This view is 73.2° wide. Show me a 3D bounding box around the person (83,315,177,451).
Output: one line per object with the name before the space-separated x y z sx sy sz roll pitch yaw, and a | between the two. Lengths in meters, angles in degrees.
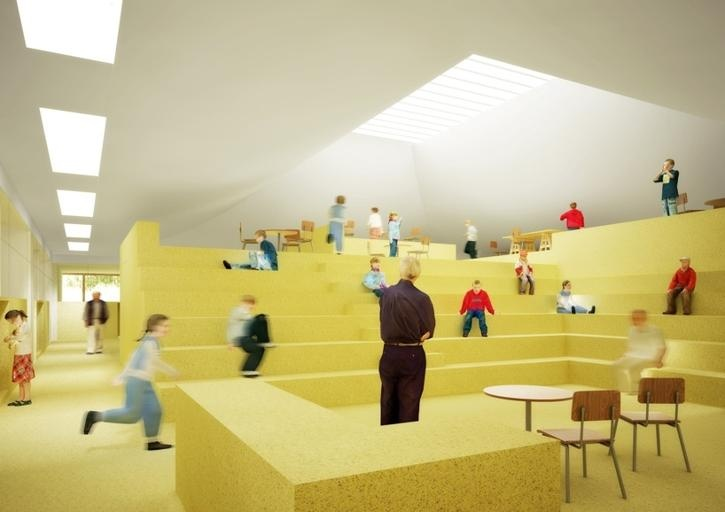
person | -2.575 1.462 5.523 0.924 1.586 0.445 0 1 -9

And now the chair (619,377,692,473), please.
chair | 3.330 1.876 5.647 0.631 1.034 0.649 2 -3 6

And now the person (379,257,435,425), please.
person | 0.465 0.890 5.117 0.560 1.752 0.302 1 1 5

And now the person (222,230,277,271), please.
person | -2.167 -0.101 10.306 1.464 0.814 0.958 1 1 44

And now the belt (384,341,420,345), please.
belt | 0.414 0.904 5.071 0.328 0.049 0.083 1 1 -3

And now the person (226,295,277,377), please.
person | -1.751 1.249 7.635 0.658 1.282 0.410 0 1 -21

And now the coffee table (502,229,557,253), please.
coffee table | 5.861 -0.484 16.963 1.344 0.824 4.414 1 1 18

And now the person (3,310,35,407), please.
person | -5.651 1.629 8.050 0.348 1.589 1.409 0 1 -35

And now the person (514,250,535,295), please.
person | 4.134 0.413 12.411 0.454 1.086 1.215 1 1 19

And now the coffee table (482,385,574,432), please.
coffee table | 1.821 1.837 5.474 0.897 0.604 0.900 1 -4 -1

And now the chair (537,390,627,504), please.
chair | 2.238 1.901 5.056 0.759 1.022 0.734 6 -10 -22

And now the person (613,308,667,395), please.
person | 4.329 1.499 7.644 0.736 1.298 0.722 1 -4 -11

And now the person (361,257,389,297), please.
person | 0.343 0.439 10.349 0.513 0.803 0.493 -5 7 -39

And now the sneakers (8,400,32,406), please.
sneakers | -5.395 2.319 7.706 0.300 0.073 0.128 12 -15 -41

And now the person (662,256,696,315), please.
person | 6.443 0.617 9.930 0.502 1.131 0.557 1 1 34

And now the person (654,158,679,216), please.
person | 7.203 -1.663 11.546 0.460 1.410 1.412 1 1 33

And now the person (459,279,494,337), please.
person | 2.373 1.073 10.044 0.721 1.120 0.496 0 1 -11
